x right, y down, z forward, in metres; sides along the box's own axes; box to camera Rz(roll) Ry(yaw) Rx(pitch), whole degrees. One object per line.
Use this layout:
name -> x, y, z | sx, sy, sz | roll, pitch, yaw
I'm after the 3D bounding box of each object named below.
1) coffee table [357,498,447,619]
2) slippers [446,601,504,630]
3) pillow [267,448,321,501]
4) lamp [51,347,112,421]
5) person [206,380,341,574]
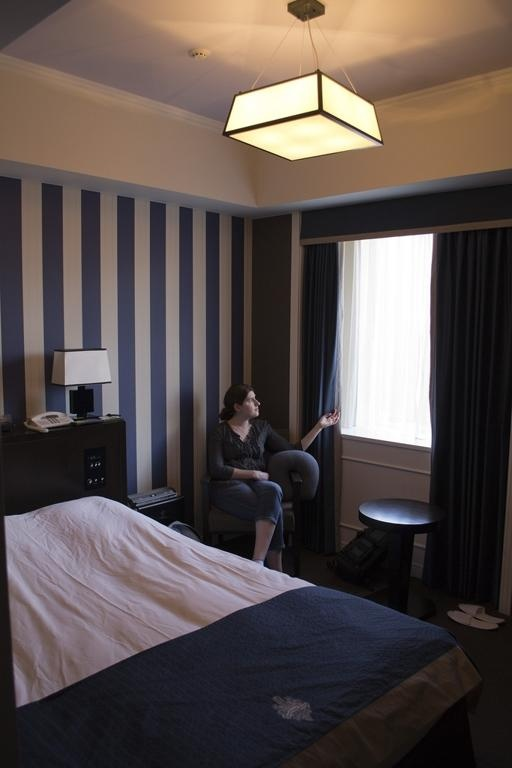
coffee table -> 0.850, 0.913, 3.322 | 0.462, 0.789, 0.534 | 5, 10, 30
slippers -> 1.313, 1.394, 3.278 | 0.117, 0.037, 0.185 | -5, 3, -26
pillow -> 0.279, 0.644, 3.973 | 0.299, 0.340, 0.331 | -9, 18, 8
lamp -> -1.070, -0.006, 3.363 | 0.329, 0.433, 0.264 | -1, 6, -32
person -> 0.042, 0.645, 4.007 | 0.758, 1.447, 0.740 | -14, -22, 43
